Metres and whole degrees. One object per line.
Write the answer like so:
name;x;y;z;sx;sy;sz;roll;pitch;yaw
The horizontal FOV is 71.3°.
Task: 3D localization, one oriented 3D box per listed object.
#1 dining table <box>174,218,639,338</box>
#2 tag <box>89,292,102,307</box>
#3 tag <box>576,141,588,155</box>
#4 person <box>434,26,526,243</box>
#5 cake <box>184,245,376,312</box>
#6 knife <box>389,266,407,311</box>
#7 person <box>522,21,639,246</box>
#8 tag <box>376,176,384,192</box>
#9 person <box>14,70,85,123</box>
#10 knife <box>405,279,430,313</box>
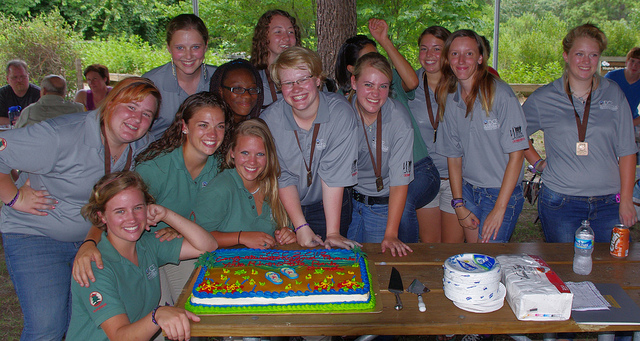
dining table;1.040;1.242;5.079;5.045;0.975;1.006;-3;10;0
tag;-2.509;1.437;4.972;0.136;0.134;0.033;-1;-18;0
tag;3.555;-0.293;6.029;0.130;0.171;0.049;0;11;19
person;2.238;-0.452;6.187;1.142;2.951;0.505;-1;11;13
cake;-0.413;1.268;5.193;2.121;0.299;1.095;1;19;1
knife;0.885;1.368;5.098;0.163;0.705;0.056;1;37;19
person;3.581;-0.474;6.086;1.359;2.949;0.632;0;11;22
tag;0.838;0.188;6.189;0.227;0.220;0.033;-6;7;-34
person;-5.520;-1.443;9.197;1.525;0.989;0.723;-6;17;-45
knife;1.113;1.401;4.953;0.259;0.069;0.540;-5;22;5
